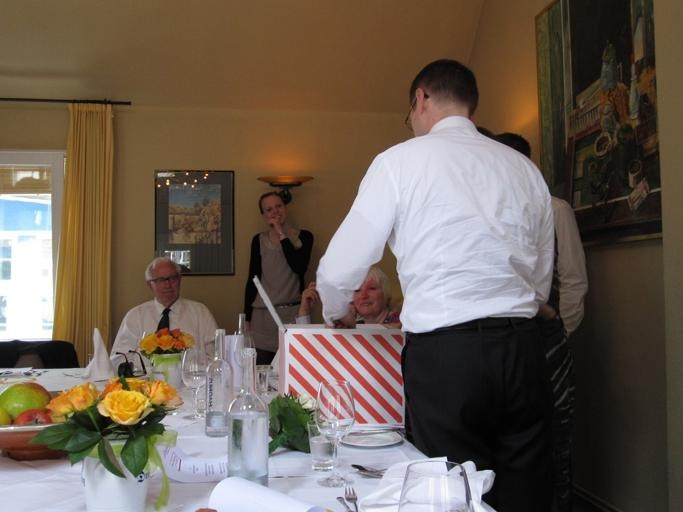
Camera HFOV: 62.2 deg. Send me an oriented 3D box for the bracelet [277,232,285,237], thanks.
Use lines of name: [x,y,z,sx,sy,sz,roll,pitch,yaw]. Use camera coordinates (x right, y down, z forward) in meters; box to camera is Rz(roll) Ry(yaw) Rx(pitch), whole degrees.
bracelet: [-0.521,-0.187,4.974,0.039,0.049,0.048,-3,-1,-4]

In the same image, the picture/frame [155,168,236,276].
picture/frame: [-1.346,-0.284,5.235,0.723,1.080,0.036,-2,28,-18]

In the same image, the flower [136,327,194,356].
flower: [-0.805,0.396,2.654,0.153,0.086,0.172,-1,7,27]

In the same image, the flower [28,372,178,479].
flower: [-0.553,0.382,1.338,0.233,0.193,0.277,7,8,-17]

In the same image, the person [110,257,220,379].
person: [-1.212,0.451,3.888,0.841,0.802,0.449,-4,-4,-33]

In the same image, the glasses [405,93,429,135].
glasses: [0.270,-0.547,2.190,0.065,0.190,0.130,6,7,29]

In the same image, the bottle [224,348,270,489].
bottle: [-0.241,0.427,1.469,0.103,0.291,0.343,-1,-1,-9]

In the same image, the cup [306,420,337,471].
cup: [-0.049,0.512,1.545,0.073,0.130,0.073,2,-7,0]
